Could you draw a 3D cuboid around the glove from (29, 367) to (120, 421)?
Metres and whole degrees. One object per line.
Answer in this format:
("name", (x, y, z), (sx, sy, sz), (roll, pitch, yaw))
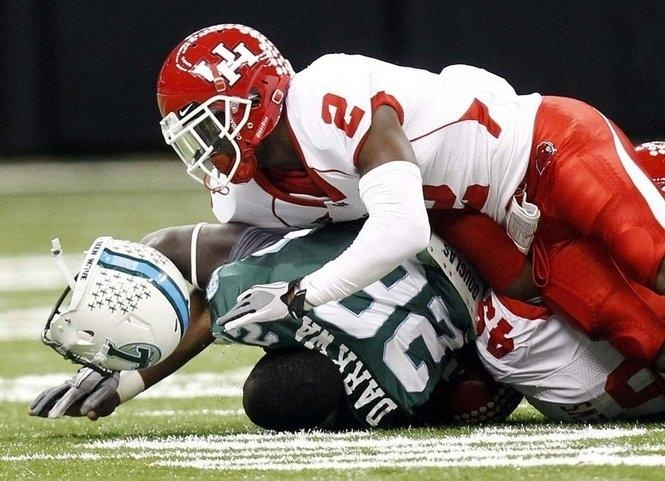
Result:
("glove", (-0.743, 0.438, 2.459), (0.227, 0.090, 0.139), (-16, 34, -39))

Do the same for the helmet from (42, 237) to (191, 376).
("helmet", (-0.599, 0.171, 2.378), (0.344, 0.314, 0.311), (24, 27, 21))

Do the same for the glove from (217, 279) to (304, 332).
("glove", (-0.183, 0.159, 2.193), (0.183, 0.082, 0.118), (-11, 38, 14))

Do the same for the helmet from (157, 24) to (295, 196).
("helmet", (-0.291, -0.411, 2.504), (0.417, 0.467, 0.341), (-12, 13, -12))
